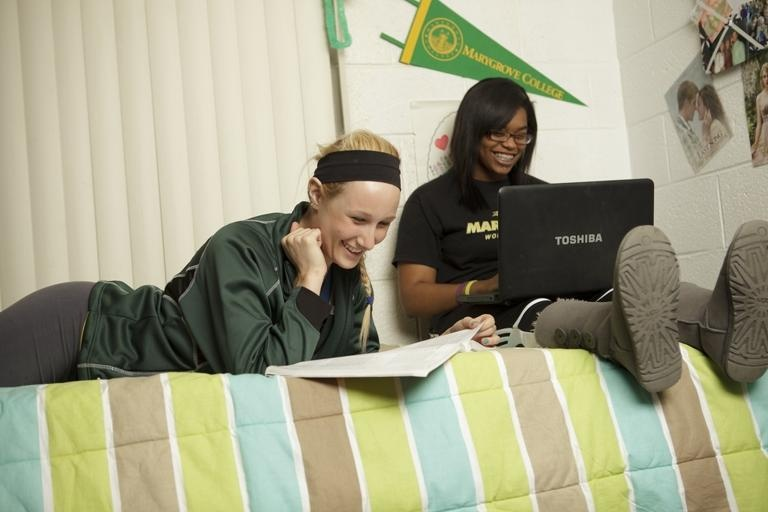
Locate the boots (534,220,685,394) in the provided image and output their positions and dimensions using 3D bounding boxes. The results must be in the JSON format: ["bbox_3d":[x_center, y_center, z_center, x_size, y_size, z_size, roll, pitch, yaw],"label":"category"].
[{"bbox_3d":[0.589,0.149,1.538,0.206,0.637,0.271,-15,12,-29],"label":"boots"}]
